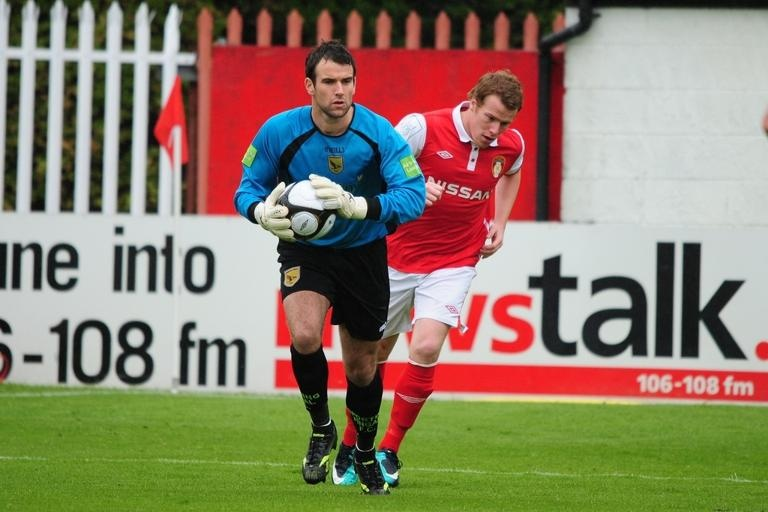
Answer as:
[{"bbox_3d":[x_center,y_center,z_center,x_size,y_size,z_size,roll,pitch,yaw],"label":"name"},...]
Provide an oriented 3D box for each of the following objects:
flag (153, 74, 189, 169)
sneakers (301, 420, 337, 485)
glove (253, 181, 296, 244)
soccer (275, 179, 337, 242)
[{"bbox_3d":[-2.004,-1.307,13.238,0.308,0.738,0.670,3,-1,-9],"label":"flag"},{"bbox_3d":[-0.509,1.562,11.042,0.184,0.576,0.250,10,-20,12],"label":"sneakers"},{"bbox_3d":[-0.827,-0.334,10.617,0.278,0.414,0.135,10,10,-3],"label":"glove"},{"bbox_3d":[-0.620,-0.367,10.806,0.424,0.450,0.357,11,8,-10],"label":"soccer"}]
